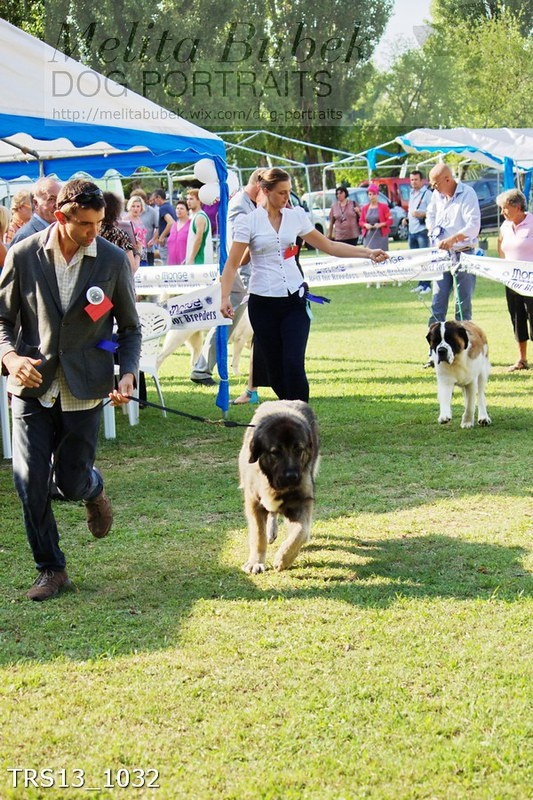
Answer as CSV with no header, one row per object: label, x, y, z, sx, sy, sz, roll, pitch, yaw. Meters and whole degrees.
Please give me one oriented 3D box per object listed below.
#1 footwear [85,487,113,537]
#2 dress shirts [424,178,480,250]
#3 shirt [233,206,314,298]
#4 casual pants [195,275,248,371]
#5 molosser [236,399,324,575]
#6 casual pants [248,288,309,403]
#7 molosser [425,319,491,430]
footwear,-0.899,0.614,4.585,0.115,0.311,0.131,-24,-43,18
dress shirts,1.989,-1.951,9.339,0.489,0.799,0.687,-30,36,-31
shirt,0.058,-1.045,5.949,0.656,0.591,0.323,-8,18,-17
casual pants,-0.478,-0.804,8.937,0.349,1.178,0.708,21,9,-5
molosser,0.072,0.470,4.547,0.449,0.852,0.744,-4,11,1
casual pants,0.130,-0.373,5.989,0.373,0.868,0.351,-3,11,20
molosser,1.651,-0.213,7.420,0.420,0.949,0.664,3,13,33
